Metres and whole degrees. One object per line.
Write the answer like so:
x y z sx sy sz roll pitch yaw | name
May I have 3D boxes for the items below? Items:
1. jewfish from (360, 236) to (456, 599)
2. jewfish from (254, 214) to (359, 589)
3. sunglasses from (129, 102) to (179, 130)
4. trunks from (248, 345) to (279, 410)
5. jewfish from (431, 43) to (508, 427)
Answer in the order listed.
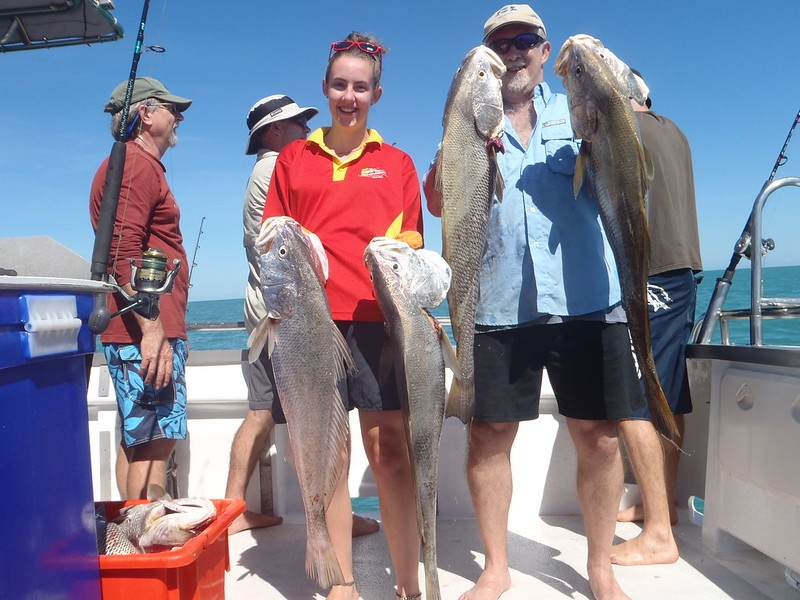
0.044 0.475 2.955 0.375 1.487 0.314 -1 -1 -5 | jewfish
-0.415 0.414 3.019 0.432 1.534 0.207 0 -1 -15 | jewfish
-1.390 -1.074 4.081 0.230 0.128 0.152 -23 36 -25 | sunglasses
-0.814 0.417 4.154 0.157 0.340 0.225 4 15 -18 | trunks
0.270 -0.272 3.084 0.351 1.515 0.386 2 11 -19 | jewfish
